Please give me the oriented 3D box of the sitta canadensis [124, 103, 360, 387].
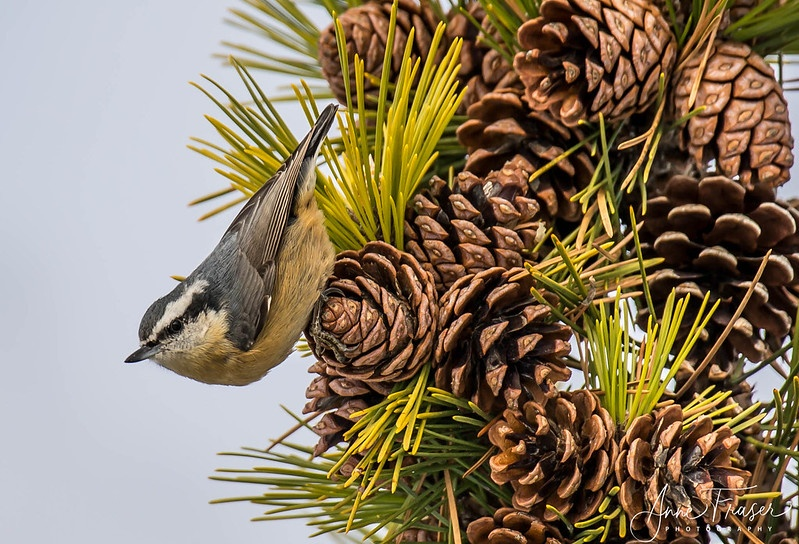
[{"bbox_3d":[-0.170,-0.006,1.815,0.139,0.107,0.350,0,-63,-61],"label":"sitta canadensis"}]
